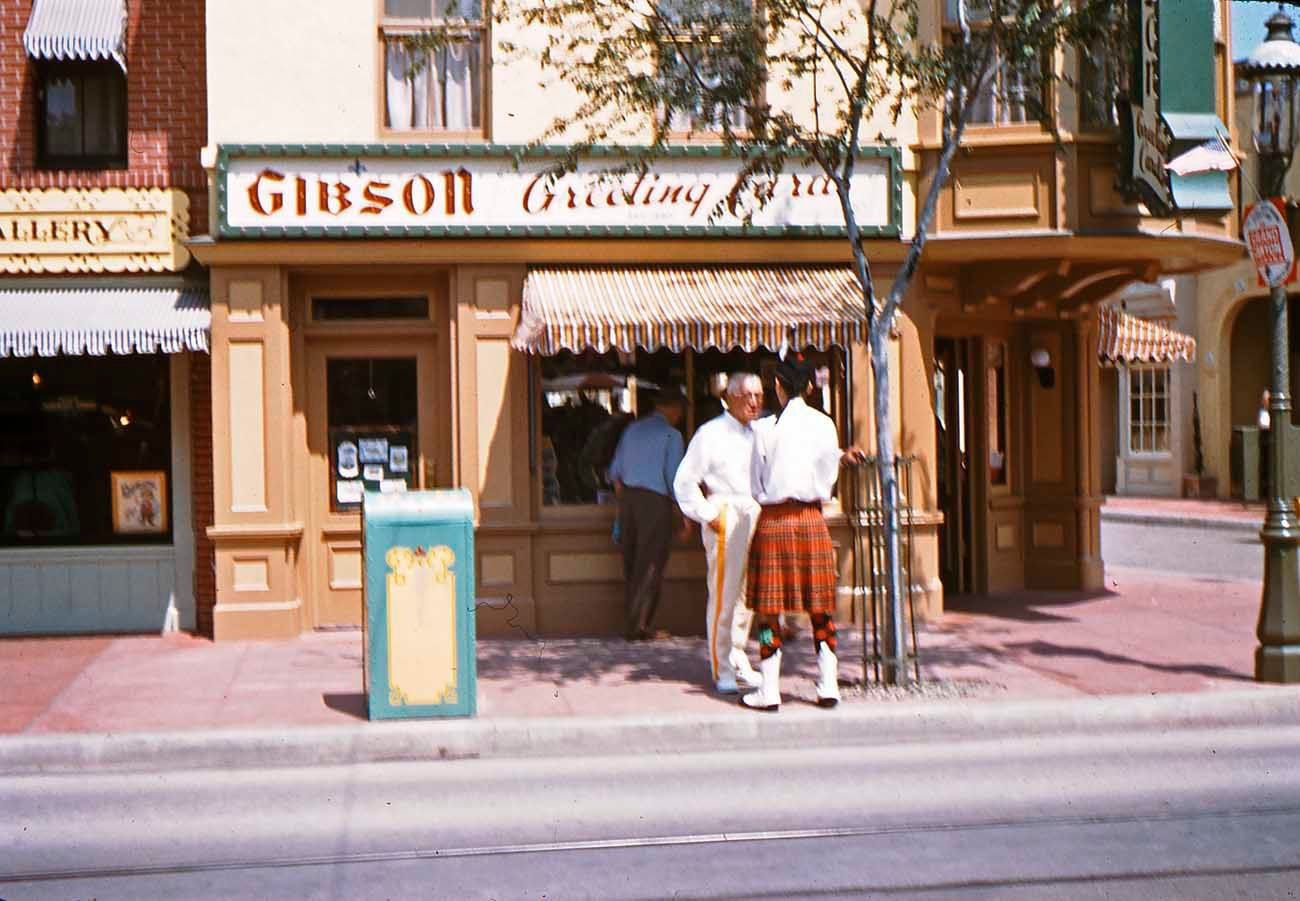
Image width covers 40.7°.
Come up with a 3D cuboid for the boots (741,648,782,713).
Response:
[{"bbox_3d":[1.081,2.162,16.613,0.366,0.578,0.435,0,12,2],"label":"boots"}]

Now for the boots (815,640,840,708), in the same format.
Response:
[{"bbox_3d":[1.706,2.109,16.654,0.232,0.600,0.421,1,12,7],"label":"boots"}]

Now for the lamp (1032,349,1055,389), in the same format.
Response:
[{"bbox_3d":[4.929,-1.010,22.048,0.309,0.501,0.224,3,12,14],"label":"lamp"}]
